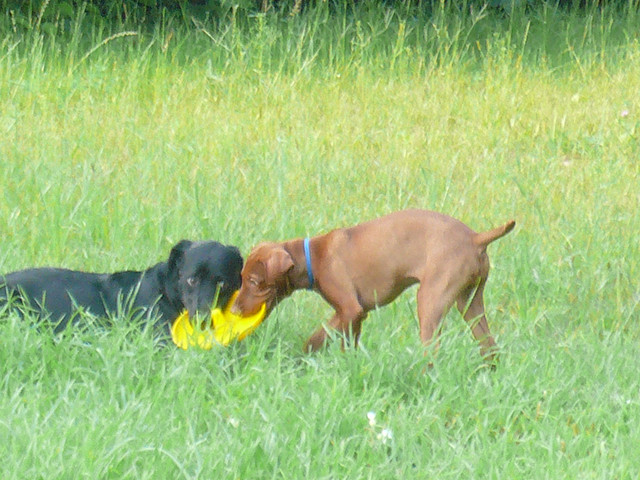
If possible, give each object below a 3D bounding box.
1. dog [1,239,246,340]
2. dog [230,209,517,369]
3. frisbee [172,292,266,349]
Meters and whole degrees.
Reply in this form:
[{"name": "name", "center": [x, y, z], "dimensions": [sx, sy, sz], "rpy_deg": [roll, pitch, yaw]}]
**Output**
[{"name": "dog", "center": [-1.171, 0.290, 4.609], "dimensions": [1.399, 0.654, 0.393], "rpy_deg": [8, 15, -2]}, {"name": "dog", "center": [0.354, 0.227, 4.660], "dimensions": [1.640, 1.014, 0.568], "rpy_deg": [12, 16, 13]}, {"name": "frisbee", "center": [-0.631, 0.541, 4.606], "dimensions": [0.386, 0.154, 0.282], "rpy_deg": [-33, 55, -5]}]
